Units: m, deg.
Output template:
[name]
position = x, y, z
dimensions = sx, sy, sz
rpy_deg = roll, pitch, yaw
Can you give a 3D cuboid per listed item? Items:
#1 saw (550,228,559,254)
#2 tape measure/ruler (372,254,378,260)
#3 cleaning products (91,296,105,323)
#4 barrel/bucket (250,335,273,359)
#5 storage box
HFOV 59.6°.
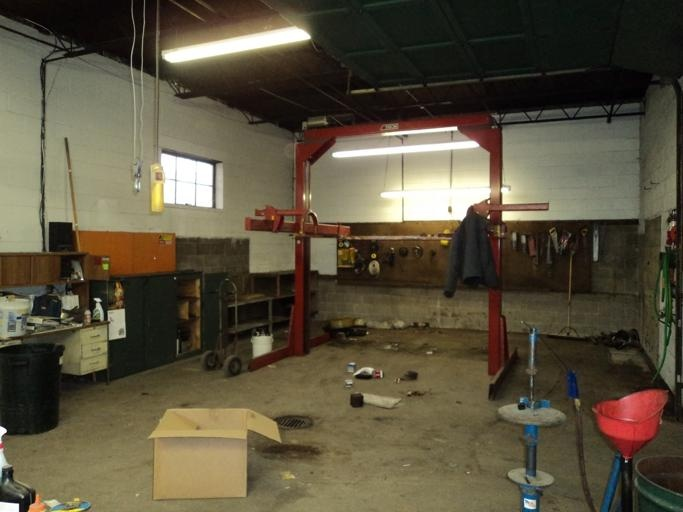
[saw]
position = 3.828, -0.274, 10.666
dimensions = 0.122, 0.465, 0.033
rpy_deg = -4, -6, 21
[tape measure/ruler]
position = 0.668, 0.014, 11.947
dimensions = 0.097, 0.098, 0.023
rpy_deg = 1, 4, 17
[cleaning products]
position = -3.179, 0.684, 7.740
dimensions = 0.172, 0.297, 0.105
rpy_deg = -2, 2, -2
[barrel/bucket]
position = -1.197, 1.373, 8.981
dimensions = 0.315, 0.305, 0.315
rpy_deg = 0, -4, 0
[storage box]
position = -1.120, 1.756, 5.272
dimensions = 0.969, 0.479, 0.771
rpy_deg = 2, 0, -5
